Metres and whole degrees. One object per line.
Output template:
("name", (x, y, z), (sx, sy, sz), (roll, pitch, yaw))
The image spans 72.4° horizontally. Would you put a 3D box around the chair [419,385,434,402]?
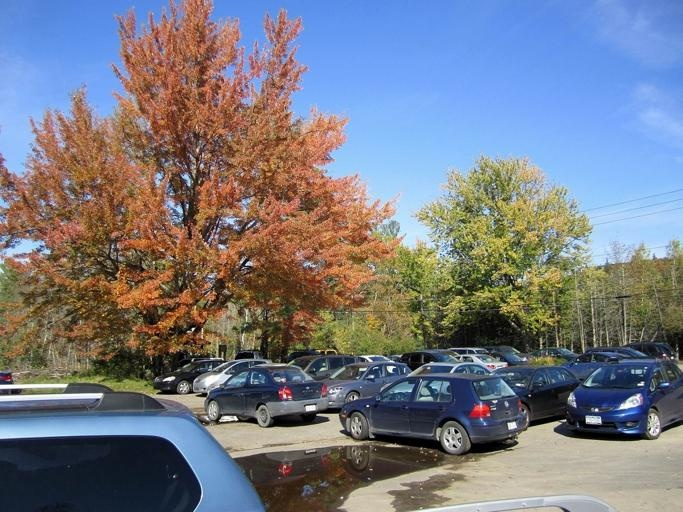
("chair", (2.026, 3.352, 11.263), (0.381, 0.279, 0.583), (-3, -4, 16))
